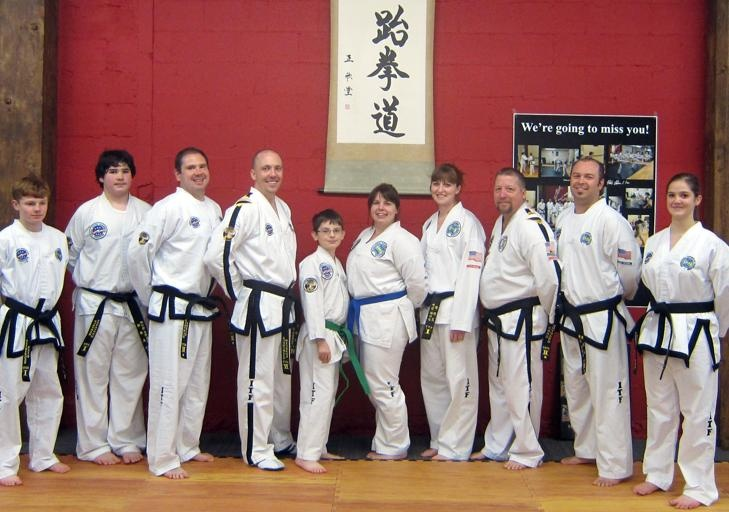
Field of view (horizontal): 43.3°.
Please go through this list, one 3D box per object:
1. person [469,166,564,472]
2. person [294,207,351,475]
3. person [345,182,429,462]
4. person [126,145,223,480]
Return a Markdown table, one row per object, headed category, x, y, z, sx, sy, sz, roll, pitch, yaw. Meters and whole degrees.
| category | x | y | z | sx | sy | sz | roll | pitch | yaw |
| --- | --- | --- | --- | --- | --- | --- | --- | --- | --- |
| person | 1.085 | 0.455 | 6.631 | 0.605 | 2.110 | 0.552 | 7 | 14 | 29 |
| person | -0.311 | 0.596 | 6.647 | 0.386 | 1.774 | 0.667 | 0 | 12 | -1 |
| person | 0.111 | 0.482 | 6.801 | 0.583 | 1.980 | 0.496 | 9 | 15 | 37 |
| person | -1.321 | 0.532 | 6.506 | 0.600 | 1.925 | 0.661 | -3 | 13 | -14 |
